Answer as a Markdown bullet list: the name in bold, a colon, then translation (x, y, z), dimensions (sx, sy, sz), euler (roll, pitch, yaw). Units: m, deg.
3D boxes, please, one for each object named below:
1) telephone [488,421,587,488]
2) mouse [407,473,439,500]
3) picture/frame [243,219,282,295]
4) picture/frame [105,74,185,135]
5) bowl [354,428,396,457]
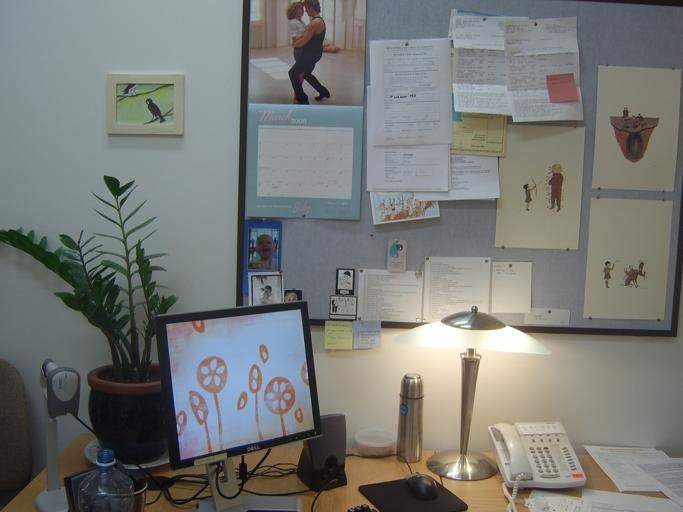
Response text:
- **telephone**: translation (0.704, 0.703, 2.200), dimensions (0.311, 0.118, 0.334), euler (-3, 12, -13)
- **mouse**: translation (0.272, 0.768, 2.064), dimensions (0.106, 0.061, 0.087), euler (-2, 6, 6)
- **picture/frame**: translation (-0.292, 0.023, 2.345), dimensions (0.150, 0.314, 0.020), euler (-1, -12, -7)
- **picture/frame**: translation (-0.735, -0.580, 2.342), dimensions (0.193, 0.179, 0.010), euler (0, 3, 0)
- **bowl**: translation (0.125, 0.693, 2.293), dimensions (0.093, 0.043, 0.095), euler (-1, 0, 0)
